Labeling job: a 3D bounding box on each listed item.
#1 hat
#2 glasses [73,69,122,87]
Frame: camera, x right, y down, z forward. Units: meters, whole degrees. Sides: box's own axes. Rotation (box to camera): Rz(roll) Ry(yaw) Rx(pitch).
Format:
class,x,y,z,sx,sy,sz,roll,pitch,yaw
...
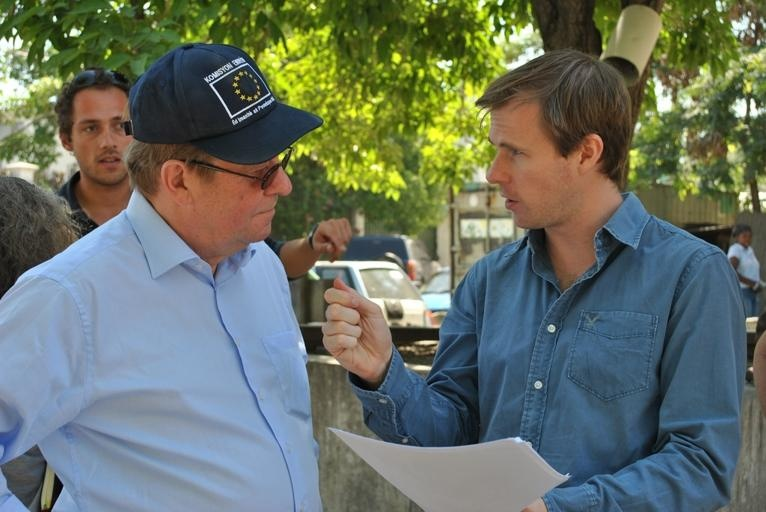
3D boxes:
class,x,y,z,sx,sy,sz,roll,pitch,yaw
hat,-0.833,-0.787,5.939,0.815,0.392,0.587,6,24,16
glasses,-1.771,-1.111,7.329,0.190,0.094,0.164,-7,0,43
